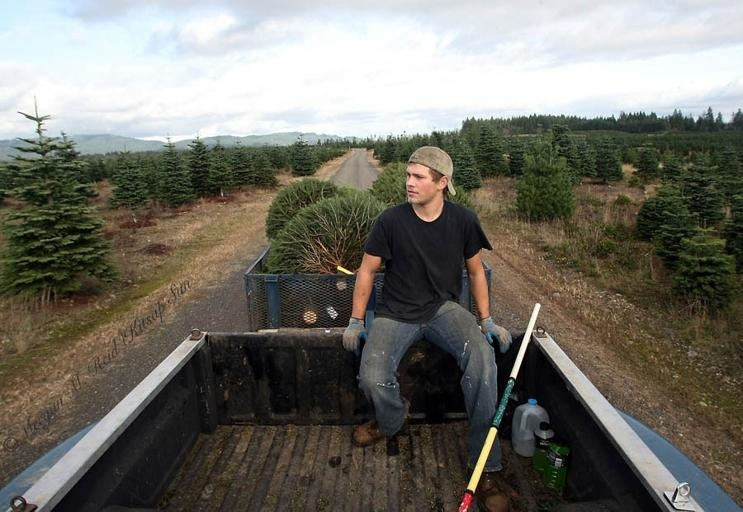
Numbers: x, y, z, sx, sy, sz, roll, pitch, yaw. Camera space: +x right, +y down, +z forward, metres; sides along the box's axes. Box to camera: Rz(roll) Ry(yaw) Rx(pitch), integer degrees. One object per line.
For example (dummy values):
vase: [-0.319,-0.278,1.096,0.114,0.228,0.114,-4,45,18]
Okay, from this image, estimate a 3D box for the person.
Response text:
person: [0.403,0.341,3.833,1.289,2.495,1.119,-3,17,13]

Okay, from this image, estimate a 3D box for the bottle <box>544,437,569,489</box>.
bottle: [1.472,1.691,3.473,0.197,0.415,0.163,10,24,44]

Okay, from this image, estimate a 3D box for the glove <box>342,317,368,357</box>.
glove: [-0.137,0.716,3.882,0.135,0.298,0.260,5,-31,-24]

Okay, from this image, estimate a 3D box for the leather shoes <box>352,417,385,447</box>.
leather shoes: [-0.027,1.617,3.893,0.288,0.199,0.189,-4,17,7]

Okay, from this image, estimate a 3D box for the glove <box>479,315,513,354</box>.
glove: [1.140,0.741,3.930,0.260,0.272,0.281,-5,17,7]

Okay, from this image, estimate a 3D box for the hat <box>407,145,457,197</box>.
hat: [0.569,-0.790,3.921,0.514,0.311,0.403,24,6,-11]
